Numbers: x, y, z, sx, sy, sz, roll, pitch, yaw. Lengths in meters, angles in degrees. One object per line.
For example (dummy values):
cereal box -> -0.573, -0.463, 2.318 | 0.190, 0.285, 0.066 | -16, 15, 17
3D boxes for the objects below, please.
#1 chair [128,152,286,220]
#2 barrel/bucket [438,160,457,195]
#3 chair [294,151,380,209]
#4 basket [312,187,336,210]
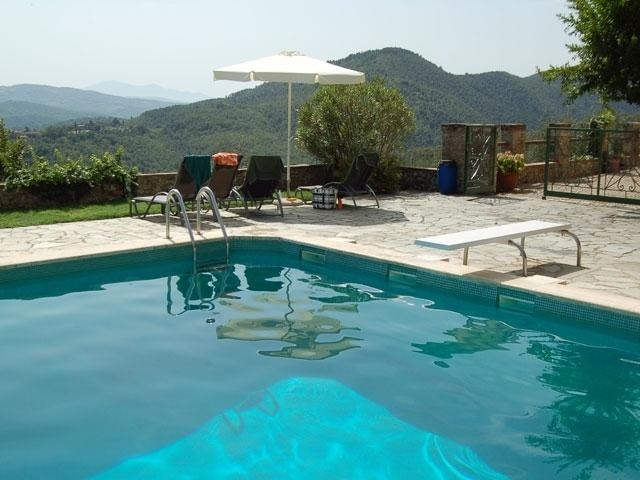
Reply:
chair -> -2.052, -1.124, 9.274 | 2.648, 1.329, 1.079 | -5, 11, -22
barrel/bucket -> 3.811, -1.850, 13.141 | 0.549, 0.987, 0.359 | -2, 10, -3
chair -> 0.736, -1.651, 11.377 | 1.067, 1.561, 2.921 | -11, 20, -38
basket -> 0.121, -1.010, 10.669 | 0.572, 0.384, 0.551 | 4, 13, 17
